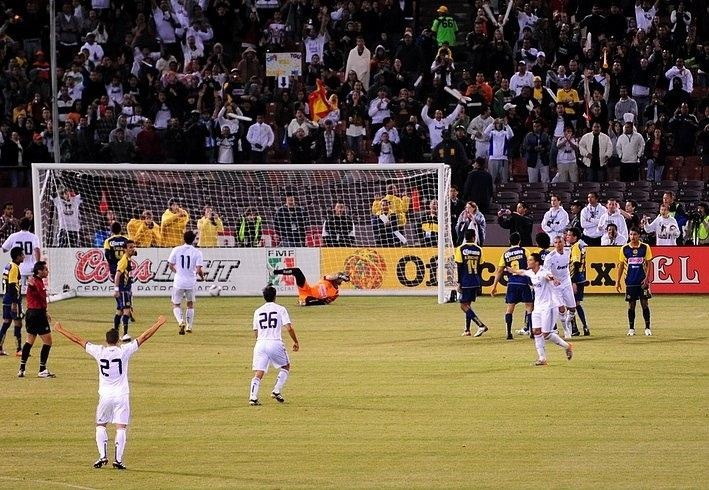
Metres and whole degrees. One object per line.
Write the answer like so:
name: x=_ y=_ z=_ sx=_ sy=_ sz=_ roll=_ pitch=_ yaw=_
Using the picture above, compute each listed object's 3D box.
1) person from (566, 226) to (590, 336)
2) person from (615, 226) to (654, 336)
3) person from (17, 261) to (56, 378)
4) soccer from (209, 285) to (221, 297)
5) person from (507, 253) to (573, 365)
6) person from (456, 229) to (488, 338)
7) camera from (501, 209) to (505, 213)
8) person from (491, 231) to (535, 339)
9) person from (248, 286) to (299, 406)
person: x=5.823 y=0.987 z=38.832 sx=0.920 sy=2.902 sz=1.062 roll=0 pitch=1 yaw=-2
person: x=7.307 y=0.987 z=38.070 sx=0.975 sy=2.811 sz=0.788 roll=-2 pitch=-2 yaw=19
person: x=-7.622 y=1.791 z=34.735 sx=0.794 sy=2.760 sz=1.342 roll=-2 pitch=-5 yaw=23
soccer: x=-4.301 y=1.445 z=44.972 sx=0.362 sy=0.370 sz=0.608 roll=-1 pitch=2 yaw=-6
person: x=4.562 y=1.579 z=35.615 sx=1.207 sy=2.584 sz=0.981 roll=-2 pitch=3 yaw=-28
person: x=3.086 y=0.995 z=38.760 sx=0.792 sy=2.840 sz=1.524 roll=0 pitch=2 yaw=4
camera: x=4.549 y=-1.030 z=44.419 sx=0.177 sy=0.127 sz=0.300 roll=0 pitch=2 yaw=11
person: x=4.119 y=1.134 z=37.717 sx=1.114 sy=2.822 sz=0.967 roll=1 pitch=16 yaw=5
person: x=-1.852 y=2.328 z=33.334 sx=1.204 sy=2.723 sz=0.967 roll=1 pitch=-3 yaw=-7
